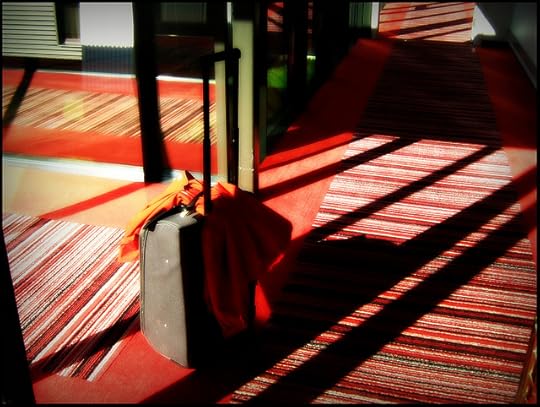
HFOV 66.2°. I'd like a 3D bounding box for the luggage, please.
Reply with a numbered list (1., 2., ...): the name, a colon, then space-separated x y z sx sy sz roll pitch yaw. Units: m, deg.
1. luggage: -0.345 0.068 1.971 0.499 1.540 0.294 -10 21 -35
